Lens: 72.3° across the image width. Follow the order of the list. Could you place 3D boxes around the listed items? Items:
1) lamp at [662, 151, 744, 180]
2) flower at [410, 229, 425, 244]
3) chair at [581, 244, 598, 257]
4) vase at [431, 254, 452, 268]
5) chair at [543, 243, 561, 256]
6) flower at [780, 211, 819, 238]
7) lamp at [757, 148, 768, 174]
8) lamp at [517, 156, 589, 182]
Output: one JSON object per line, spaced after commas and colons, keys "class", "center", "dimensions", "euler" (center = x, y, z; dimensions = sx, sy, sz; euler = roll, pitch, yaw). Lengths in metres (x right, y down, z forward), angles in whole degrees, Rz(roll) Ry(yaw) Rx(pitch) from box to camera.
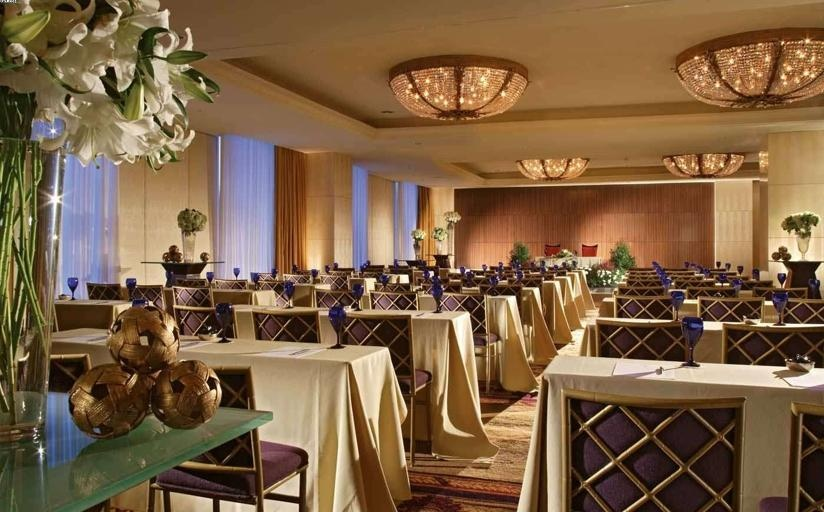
{"class": "lamp", "center": [6.832, -2.154, 13.334], "dimensions": [1.634, 0.541, 0.933], "euler": [1, -1, 24]}
{"class": "flower", "center": [0.159, -0.566, 16.302], "dimensions": [0.411, 0.204, 0.540], "euler": [-1, -1, -2]}
{"class": "chair", "center": [6.638, -0.214, 21.172], "dimensions": [0.506, 0.643, 0.578], "euler": [-2, -7, 18]}
{"class": "vase", "center": [0.872, 0.148, 16.888], "dimensions": [0.445, 0.280, 0.459], "euler": [-1, 0, 12]}
{"class": "chair", "center": [5.368, -0.252, 21.583], "dimensions": [0.518, 0.707, 0.569], "euler": [-1, -1, 5]}
{"class": "flower", "center": [6.413, -0.505, 9.368], "dimensions": [0.588, 0.424, 0.606], "euler": [-6, -7, 24]}
{"class": "lamp", "center": [8.149, -2.161, 13.134], "dimensions": [0.127, 0.518, 1.439], "euler": [2, 0, 33]}
{"class": "lamp", "center": [3.678, -2.291, 14.783], "dimensions": [1.427, 0.469, 1.537], "euler": [2, -1, -26]}
